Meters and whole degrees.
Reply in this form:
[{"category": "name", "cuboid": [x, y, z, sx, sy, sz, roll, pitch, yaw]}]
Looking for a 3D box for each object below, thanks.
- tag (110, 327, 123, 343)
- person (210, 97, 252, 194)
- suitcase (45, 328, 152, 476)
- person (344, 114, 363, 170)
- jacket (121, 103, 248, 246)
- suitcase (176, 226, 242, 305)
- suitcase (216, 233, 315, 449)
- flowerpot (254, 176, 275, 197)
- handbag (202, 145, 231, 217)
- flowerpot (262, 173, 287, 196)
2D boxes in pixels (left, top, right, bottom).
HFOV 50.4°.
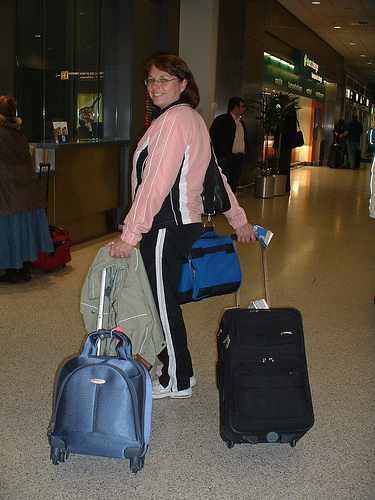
[{"category": "tag", "cuboid": [-0.224, 0.260, 1.262, 0.034, 0.048, 0.038, -3, 6, -7]}, {"category": "person", "cuboid": [0.769, -1.711, 6.969, 0.700, 1.894, 0.447, -13, 36, -18]}, {"category": "suitcase", "cuboid": [-0.267, 0.476, 1.284, 0.301, 0.422, 0.242, 1, -12, 8]}, {"category": "person", "cuboid": [6.915, -4.475, 16.715, 0.626, 2.169, 1.537, 5, 9, 21]}, {"category": "jacket", "cuboid": [0.001, -0.300, 1.529, 0.443, 0.565, 0.469, 8, 28, 12]}, {"category": "suitcase", "cuboid": [0.080, 0.033, 1.744, 0.311, 0.333, 0.187, -9, 14, -30]}, {"category": "suitcase", "cuboid": [0.281, 0.493, 1.471, 0.327, 0.559, 0.290, 2, 8, 0]}, {"category": "flowerpot", "cuboid": [1.742, -1.485, 9.203, 0.443, 0.454, 0.415, 5, 12, 5]}, {"category": "handbag", "cuboid": [0.118, -0.254, 1.748, 0.116, 0.342, 0.339, 2, -2, 12]}, {"category": "flowerpot", "cuboid": [2.145, -1.600, 9.701, 0.407, 0.491, 0.492, 0, 10, 2]}]
